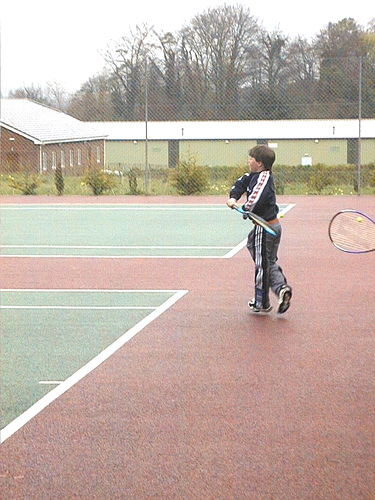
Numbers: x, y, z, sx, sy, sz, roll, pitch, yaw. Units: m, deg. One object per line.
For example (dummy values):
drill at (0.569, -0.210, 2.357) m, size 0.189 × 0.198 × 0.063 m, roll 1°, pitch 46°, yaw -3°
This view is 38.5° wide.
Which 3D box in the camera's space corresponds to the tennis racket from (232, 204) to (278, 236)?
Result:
tennis racket at (0.627, -0.273, 4.798) m, size 0.165 × 0.108 × 0.719 m, roll -22°, pitch -26°, yaw 16°

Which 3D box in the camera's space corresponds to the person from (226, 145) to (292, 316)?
person at (0.707, -0.222, 5.267) m, size 0.628 × 1.699 × 1.421 m, roll 1°, pitch 4°, yaw 10°
